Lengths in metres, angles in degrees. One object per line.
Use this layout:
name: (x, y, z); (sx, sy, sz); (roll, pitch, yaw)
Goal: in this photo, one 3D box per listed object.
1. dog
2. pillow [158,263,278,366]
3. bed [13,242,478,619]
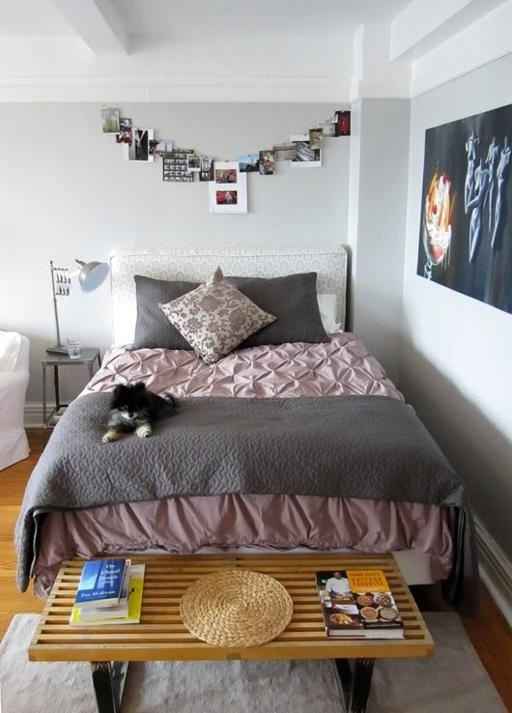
dog: (-0.414, 0.185, 1.821); (0.119, 0.128, 0.292); (1, 12, 4)
pillow: (-0.214, -0.194, 2.798); (0.460, 0.150, 0.487); (-35, 63, -26)
bed: (-0.001, 0.133, 2.196); (0.900, 0.659, 1.411); (-2, 19, 0)
